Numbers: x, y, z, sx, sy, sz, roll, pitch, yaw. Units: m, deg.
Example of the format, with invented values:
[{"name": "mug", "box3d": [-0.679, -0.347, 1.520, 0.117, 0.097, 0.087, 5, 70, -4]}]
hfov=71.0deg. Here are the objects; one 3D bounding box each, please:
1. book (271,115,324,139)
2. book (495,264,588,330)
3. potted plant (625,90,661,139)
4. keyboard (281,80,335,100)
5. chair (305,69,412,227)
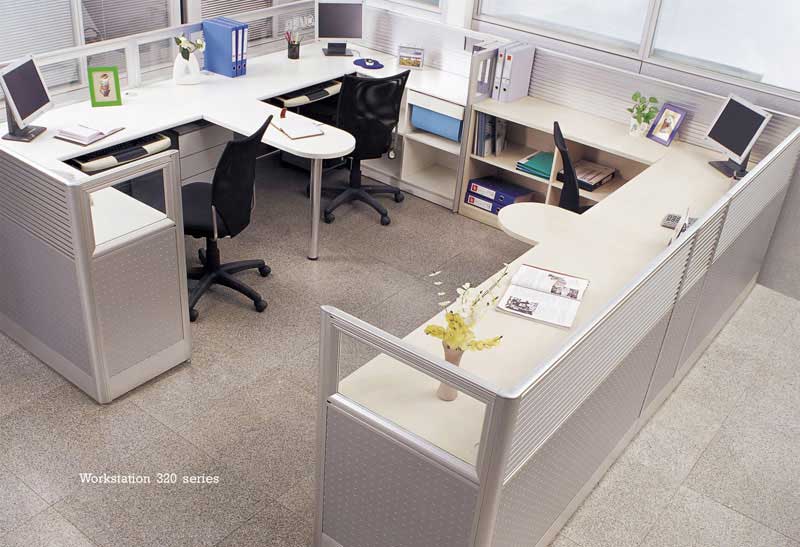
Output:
[{"name": "book", "box3d": [-0.769, -1.127, 4.308, 0.267, 0.040, 0.288, -19, 45, -29]}, {"name": "book", "box3d": [0.774, 0.121, 3.000, 0.332, 0.039, 0.359, 17, 46, 16]}, {"name": "potted plant", "box3d": [1.985, -1.305, 4.584, 0.255, 0.282, 0.244, 38, 56, 26]}, {"name": "keyboard", "box3d": [-0.798, -1.653, 5.030, 0.411, 0.096, 0.263, -23, 53, -20]}, {"name": "chair", "box3d": [-0.360, -1.242, 5.148, 0.827, 1.237, 0.864, -12, 29, -33]}]
